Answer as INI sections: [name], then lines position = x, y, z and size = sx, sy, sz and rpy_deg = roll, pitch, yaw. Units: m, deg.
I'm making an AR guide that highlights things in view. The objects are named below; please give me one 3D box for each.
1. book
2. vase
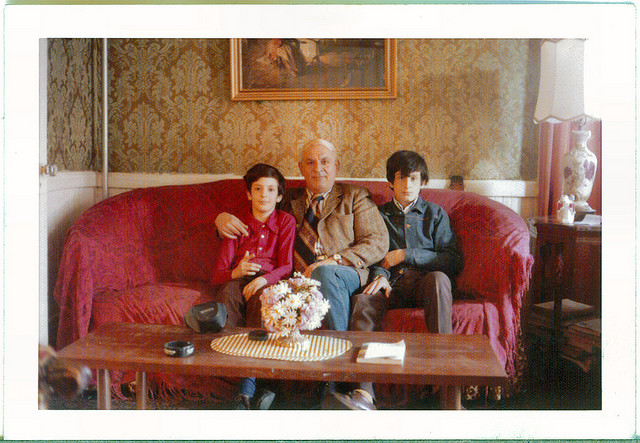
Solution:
[book]
position = 1.293, 0.622, 2.816
size = 0.379, 0.129, 0.376
rpy_deg = 3, 13, 17
[vase]
position = 1.471, -0.287, 2.913
size = 0.184, 0.454, 0.164
rpy_deg = 1, 6, 24
